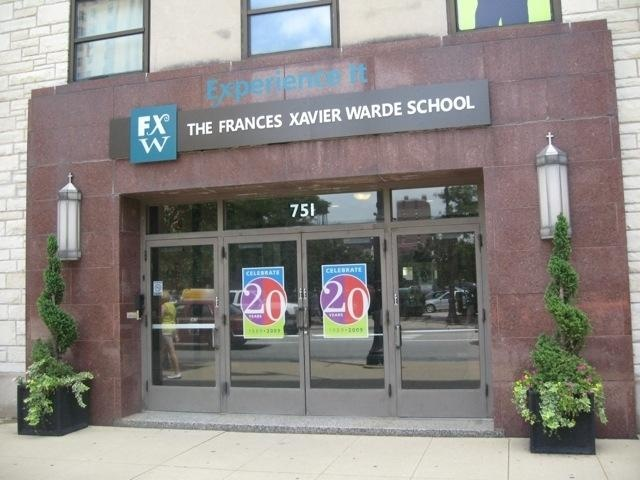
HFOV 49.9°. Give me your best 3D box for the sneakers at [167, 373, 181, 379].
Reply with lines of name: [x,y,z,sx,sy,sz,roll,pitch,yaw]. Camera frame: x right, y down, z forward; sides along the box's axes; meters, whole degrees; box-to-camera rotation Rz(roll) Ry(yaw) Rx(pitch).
sneakers: [-2.211,2.064,10.432,0.185,0.080,0.075,2,-6,6]

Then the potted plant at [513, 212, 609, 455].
potted plant: [2.915,1.141,8.351,1.056,2.855,0.682,-1,8,14]

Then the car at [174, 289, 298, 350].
car: [-1.278,1.196,10.452,1.841,0.616,0.839,0,-2,9]

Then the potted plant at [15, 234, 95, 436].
potted plant: [-3.822,1.378,9.688,1.087,2.821,0.598,-6,8,-20]
